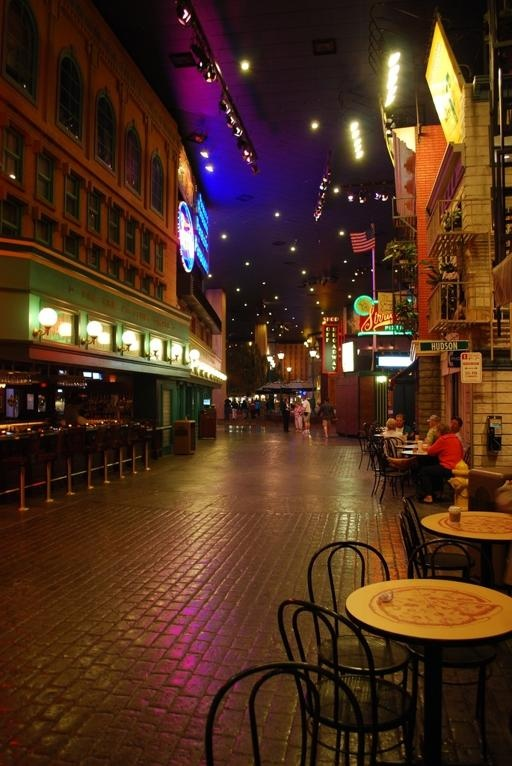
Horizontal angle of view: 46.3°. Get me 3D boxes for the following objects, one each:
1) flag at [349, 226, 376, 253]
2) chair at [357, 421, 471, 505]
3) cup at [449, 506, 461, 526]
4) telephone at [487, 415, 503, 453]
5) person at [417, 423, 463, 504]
[{"bbox_3d":[4.571,-5.936,25.724,1.099,1.274,0.385,-6,-8,8],"label":"flag"},{"bbox_3d":[2.731,1.561,10.128,1.326,0.840,1.571,-2,3,13],"label":"chair"},{"bbox_3d":[1.425,0.952,4.284,0.102,0.115,0.108,0,-2,0],"label":"cup"},{"bbox_3d":[4.556,0.986,11.410,0.287,0.556,0.156,-3,-2,12],"label":"telephone"},{"bbox_3d":[3.044,1.332,9.890,0.656,0.889,1.554,-3,-2,15],"label":"person"}]
